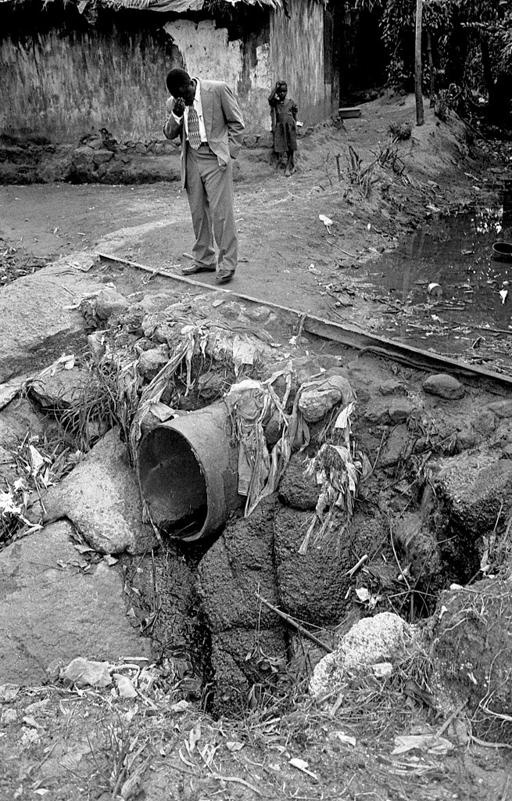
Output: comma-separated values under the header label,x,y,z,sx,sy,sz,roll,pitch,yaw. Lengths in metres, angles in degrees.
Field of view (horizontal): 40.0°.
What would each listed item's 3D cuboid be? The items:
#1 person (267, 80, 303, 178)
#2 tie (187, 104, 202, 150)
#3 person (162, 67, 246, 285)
label,x,y,z,sx,sy,sz,roll,pitch,yaw
person,0.394,-4.096,10.650,0.384,1.322,0.517,-2,6,2
tie,-0.518,-2.251,5.787,0.093,0.306,0.179,-3,7,-8
person,-0.449,-1.879,6.098,0.637,1.735,0.947,-3,7,-8
